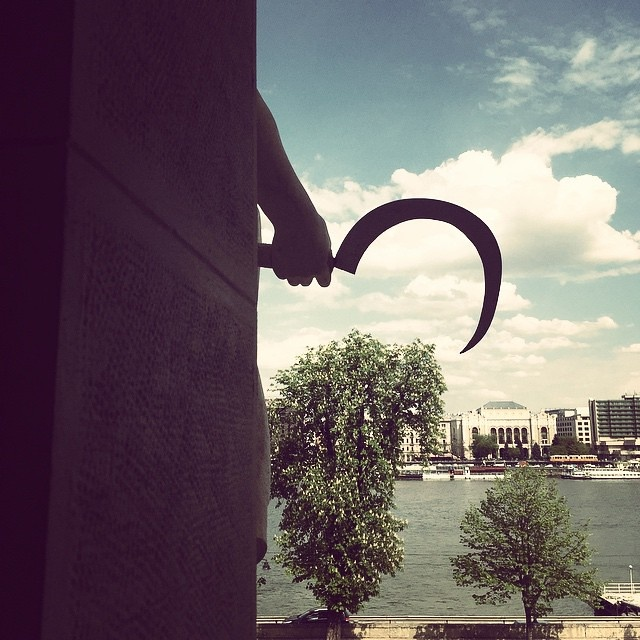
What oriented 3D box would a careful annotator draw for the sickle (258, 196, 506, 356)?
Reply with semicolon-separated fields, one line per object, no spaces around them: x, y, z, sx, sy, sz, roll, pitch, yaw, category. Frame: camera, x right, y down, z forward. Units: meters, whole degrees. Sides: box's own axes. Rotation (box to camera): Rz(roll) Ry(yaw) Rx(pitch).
0.179;-0.084;1.935;0.324;0.293;0.216;-1;-9;6;sickle
